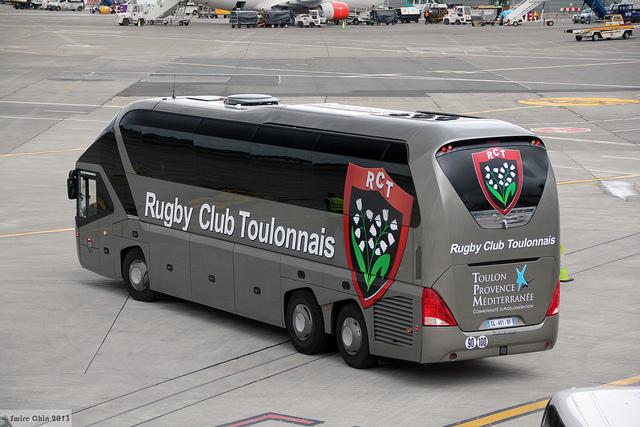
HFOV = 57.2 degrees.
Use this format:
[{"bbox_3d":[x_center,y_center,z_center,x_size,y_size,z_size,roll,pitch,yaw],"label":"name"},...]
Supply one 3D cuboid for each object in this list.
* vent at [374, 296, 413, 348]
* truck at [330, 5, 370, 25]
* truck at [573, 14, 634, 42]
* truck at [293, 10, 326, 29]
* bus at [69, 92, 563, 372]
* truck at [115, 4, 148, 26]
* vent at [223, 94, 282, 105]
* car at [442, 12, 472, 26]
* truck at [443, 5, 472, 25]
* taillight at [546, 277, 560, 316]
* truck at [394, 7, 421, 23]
[{"bbox_3d":[1.326,1.918,10.492,0.970,0.979,0.156,6,9,41],"label":"vent"},{"bbox_3d":[7.855,-46.017,137.345,4.208,5.415,12.945,8,14,33],"label":"truck"},{"bbox_3d":[44.606,-29.479,93.498,11.842,4.781,4.239,-2,7,-15],"label":"truck"},{"bbox_3d":[-2.066,-39.586,119.655,6.209,3.310,3.815,-1,10,-2],"label":"truck"},{"bbox_3d":[-1.222,-0.033,13.448,12.456,5.116,2.721,10,18,35],"label":"bus"},{"bbox_3d":[-37.439,-39.238,116.323,6.167,3.681,3.743,-2,16,-9],"label":"truck"},{"bbox_3d":[-1.716,-2.663,13.781,0.715,0.114,0.677,-2,5,-26],"label":"vent"},{"bbox_3d":[31.781,-45.759,138.116,5.719,2.565,2.362,-3,14,-10],"label":"car"},{"bbox_3d":[32.260,-46.839,138.827,6.520,4.343,4.431,-1,14,-4],"label":"truck"},{"bbox_3d":[4.296,1.654,10.841,0.081,0.464,0.343,12,19,41],"label":"taillight"},{"bbox_3d":[21.457,-48.527,143.623,5.860,3.093,3.323,-2,14,-3],"label":"truck"}]
